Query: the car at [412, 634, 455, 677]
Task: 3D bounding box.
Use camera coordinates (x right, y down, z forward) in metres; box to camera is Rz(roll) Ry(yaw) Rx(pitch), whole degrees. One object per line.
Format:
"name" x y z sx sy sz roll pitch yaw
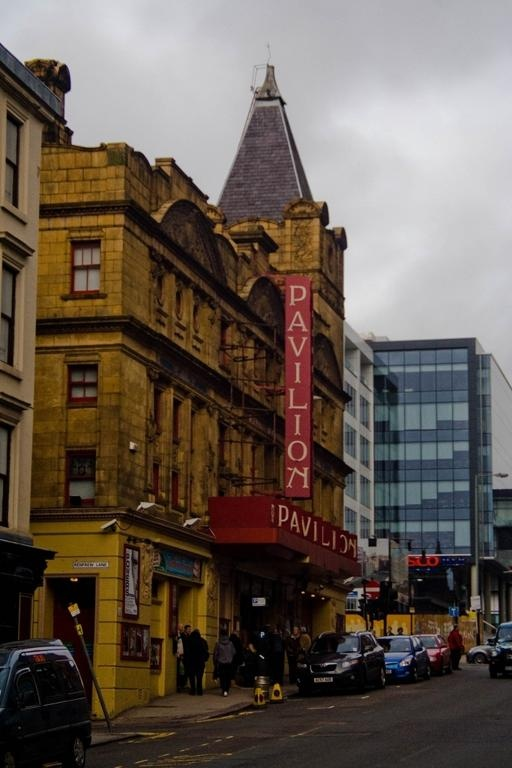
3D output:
"car" 5.624 8.326 40.271 1.012 0.814 2.063 -4 -20 9

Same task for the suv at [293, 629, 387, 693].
"suv" 2.628 7.030 32.638 1.769 1.551 5.441 -7 -17 27

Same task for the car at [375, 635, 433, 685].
"car" 4.151 7.580 35.791 0.868 0.850 1.870 -5 -23 12
